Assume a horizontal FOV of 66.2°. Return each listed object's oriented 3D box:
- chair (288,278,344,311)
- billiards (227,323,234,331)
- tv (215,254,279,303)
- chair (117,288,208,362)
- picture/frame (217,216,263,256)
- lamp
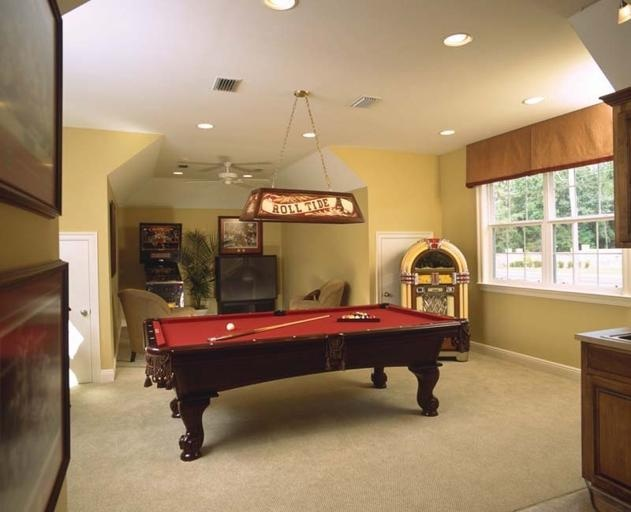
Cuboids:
[{"bbox_3d":[0.090,0.627,7.451,0.643,0.676,0.528,-1,1,1],"label":"chair"},{"bbox_3d":[-0.737,0.610,4.163,0.050,0.040,0.053,-1,-2,-1],"label":"billiards"},{"bbox_3d":[-1.417,0.432,9.606,1.548,1.091,0.808,1,-4,-25],"label":"tv"},{"bbox_3d":[-1.933,0.808,6.216,1.198,1.216,1.013,-1,1,-24],"label":"chair"},{"bbox_3d":[-1.417,-0.345,8.937,0.802,0.655,0.075,0,-4,-27],"label":"picture/frame"},{"bbox_3d":[-0.121,-0.849,4.194,1.181,1.073,0.420,-5,10,-37],"label":"lamp"}]
